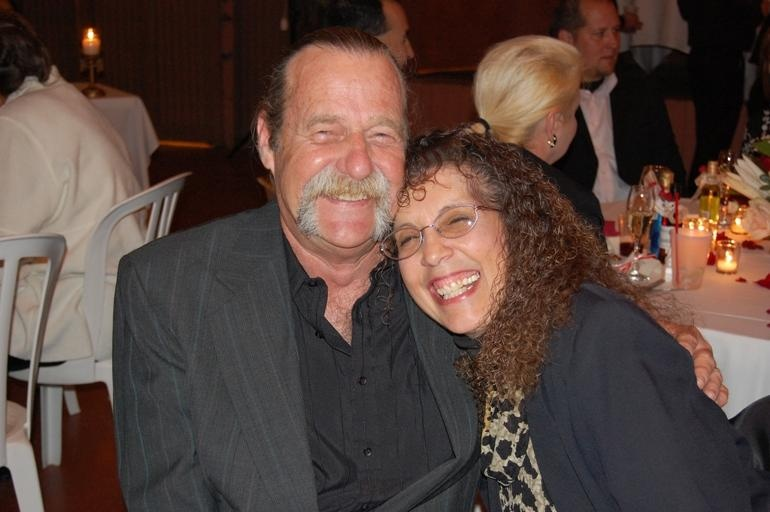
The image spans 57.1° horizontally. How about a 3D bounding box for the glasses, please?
[{"bbox_3d":[0.220,-0.091,2.667,0.421,0.133,0.074,-6,-3,12],"label":"glasses"}]
